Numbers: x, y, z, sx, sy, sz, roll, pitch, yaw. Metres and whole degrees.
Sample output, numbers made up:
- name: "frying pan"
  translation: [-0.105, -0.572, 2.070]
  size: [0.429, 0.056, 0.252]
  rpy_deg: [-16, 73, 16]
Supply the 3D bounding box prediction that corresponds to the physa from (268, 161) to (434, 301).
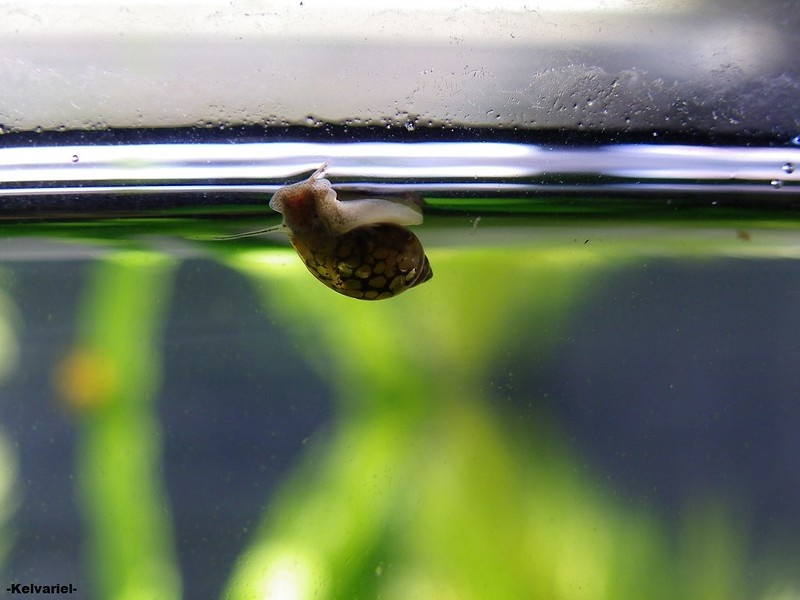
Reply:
- name: "physa"
  translation: [-0.095, -0.111, 1.718]
  size: [0.329, 0.194, 0.215]
  rpy_deg: [31, -41, -34]
